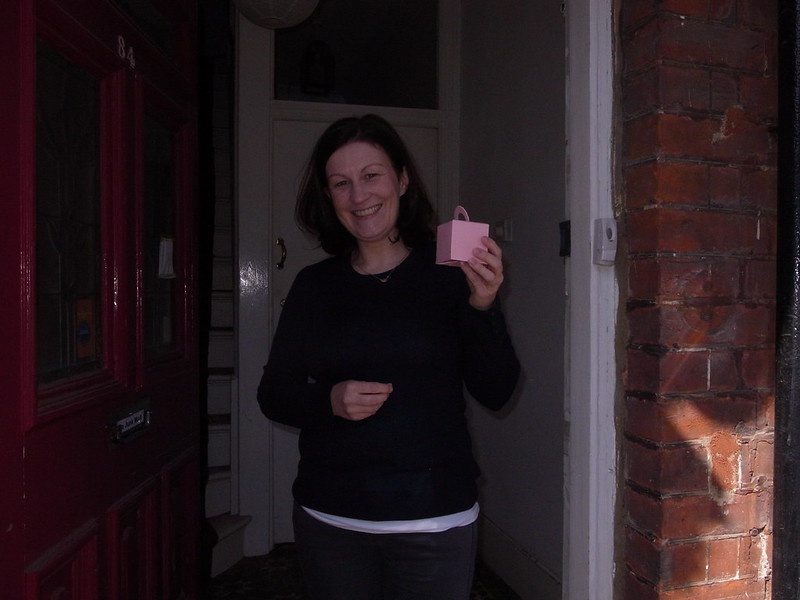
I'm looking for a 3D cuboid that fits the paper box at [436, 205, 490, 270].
[{"bbox_3d":[0.139,-0.158,1.653,0.145,0.150,0.119,0,7,24],"label":"paper box"}]

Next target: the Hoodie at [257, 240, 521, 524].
[{"bbox_3d":[-0.044,0.207,1.758,0.669,0.718,0.375,0,0,3],"label":"Hoodie"}]
